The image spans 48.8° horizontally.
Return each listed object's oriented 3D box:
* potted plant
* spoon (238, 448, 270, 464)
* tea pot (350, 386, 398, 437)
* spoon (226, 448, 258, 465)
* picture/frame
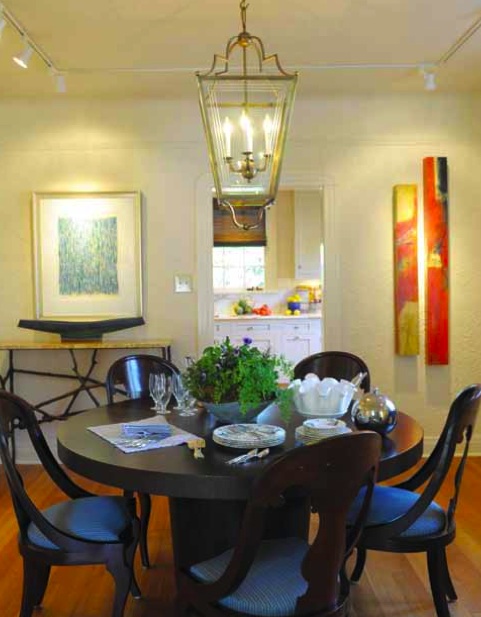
[{"bbox_3d":[-0.026,0.250,1.782,0.352,0.244,0.359,-4,5,7],"label":"potted plant"},{"bbox_3d":[0.036,0.381,1.397,0.026,0.015,0.088,16,8,28],"label":"spoon"},{"bbox_3d":[0.418,0.318,1.672,0.138,0.155,0.135,4,-3,0],"label":"tea pot"},{"bbox_3d":[0.004,0.376,1.368,0.073,0.020,0.026,-6,4,-40],"label":"spoon"},{"bbox_3d":[-1.110,-0.401,3.802,0.966,1.041,0.077,0,0,-1],"label":"picture/frame"}]
